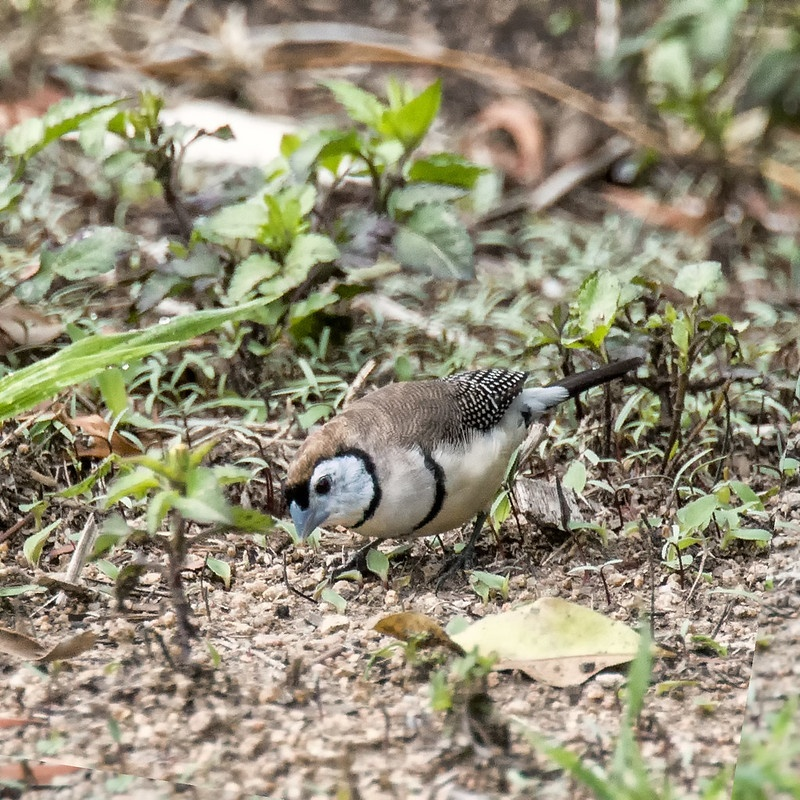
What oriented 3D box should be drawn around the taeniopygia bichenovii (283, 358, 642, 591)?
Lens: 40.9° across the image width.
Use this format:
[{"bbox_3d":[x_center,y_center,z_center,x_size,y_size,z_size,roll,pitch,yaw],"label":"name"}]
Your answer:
[{"bbox_3d":[0.102,0.158,3.152,0.532,0.393,0.988,30,53,20],"label":"taeniopygia bichenovii"}]
